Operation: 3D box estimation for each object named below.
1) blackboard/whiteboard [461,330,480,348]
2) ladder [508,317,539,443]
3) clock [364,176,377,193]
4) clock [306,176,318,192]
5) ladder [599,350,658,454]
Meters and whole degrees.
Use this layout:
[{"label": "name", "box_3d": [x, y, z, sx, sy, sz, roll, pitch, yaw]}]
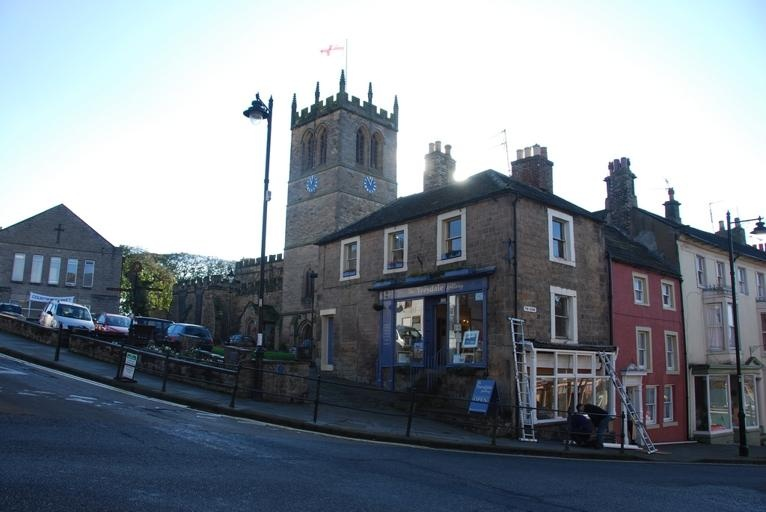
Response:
[{"label": "blackboard/whiteboard", "box_3d": [3.692, 3.465, 26.029, 0.082, 0.804, 0.801, 27, -14, -34]}, {"label": "ladder", "box_3d": [5.452, 4.677, 24.268, 1.063, 4.710, 1.037, 1, -15, 12]}, {"label": "clock", "box_3d": [-1.234, -6.810, 59.357, 0.255, 1.777, 1.830, -9, -5, 33]}, {"label": "clock", "box_3d": [-6.601, -6.731, 58.819, 0.375, 1.567, 1.536, 14, -18, -34]}, {"label": "ladder", "box_3d": [10.601, 6.389, 27.187, 0.656, 5.717, 0.686, 5, -39, -31]}]
